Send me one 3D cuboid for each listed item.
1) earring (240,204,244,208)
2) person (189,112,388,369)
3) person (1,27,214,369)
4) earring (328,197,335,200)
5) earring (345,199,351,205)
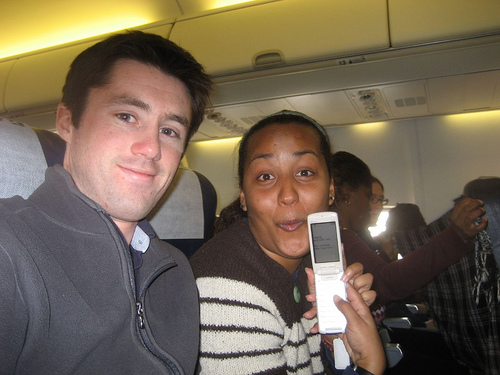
[{"bbox_3d":[-0.043,0.102,2.028,0.008,0.019,0.055,-2,-4,-13],"label":"earring"},{"bbox_3d":[0.095,0.286,1.958,1.044,1.202,0.561,-4,-7,-6],"label":"person"},{"bbox_3d":[-0.522,0.054,1.447,0.827,1.461,0.413,0,-5,-43],"label":"person"},{"bbox_3d":[0.452,0.061,2.018,0.021,0.013,0.031,-2,13,13],"label":"earring"},{"bbox_3d":[0.816,0.117,3.042,0.058,0.050,0.014,0,0,-1],"label":"earring"}]
